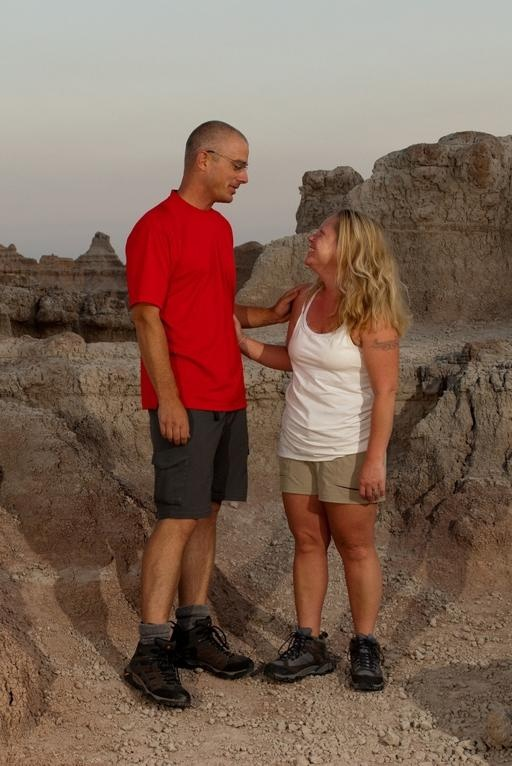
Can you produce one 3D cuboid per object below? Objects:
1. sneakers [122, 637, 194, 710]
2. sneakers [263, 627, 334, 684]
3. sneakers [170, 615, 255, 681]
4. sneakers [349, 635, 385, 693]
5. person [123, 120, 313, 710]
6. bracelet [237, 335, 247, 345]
[{"bbox_3d":[-0.317,0.942,2.583,0.130,0.206,0.166,-7,15,-34],"label":"sneakers"},{"bbox_3d":[0.155,0.967,2.830,0.293,0.164,0.102,1,-1,-36],"label":"sneakers"},{"bbox_3d":[-0.147,0.950,2.853,0.327,0.172,0.106,2,-2,22],"label":"sneakers"},{"bbox_3d":[0.378,0.975,2.733,0.092,0.094,0.229,-1,0,3],"label":"sneakers"},{"bbox_3d":[-0.174,0.125,2.756,0.555,2.033,0.835,3,13,6],"label":"person"},{"bbox_3d":[-0.051,-0.168,3.048,0.030,0.040,0.044,-4,7,-6],"label":"bracelet"}]
